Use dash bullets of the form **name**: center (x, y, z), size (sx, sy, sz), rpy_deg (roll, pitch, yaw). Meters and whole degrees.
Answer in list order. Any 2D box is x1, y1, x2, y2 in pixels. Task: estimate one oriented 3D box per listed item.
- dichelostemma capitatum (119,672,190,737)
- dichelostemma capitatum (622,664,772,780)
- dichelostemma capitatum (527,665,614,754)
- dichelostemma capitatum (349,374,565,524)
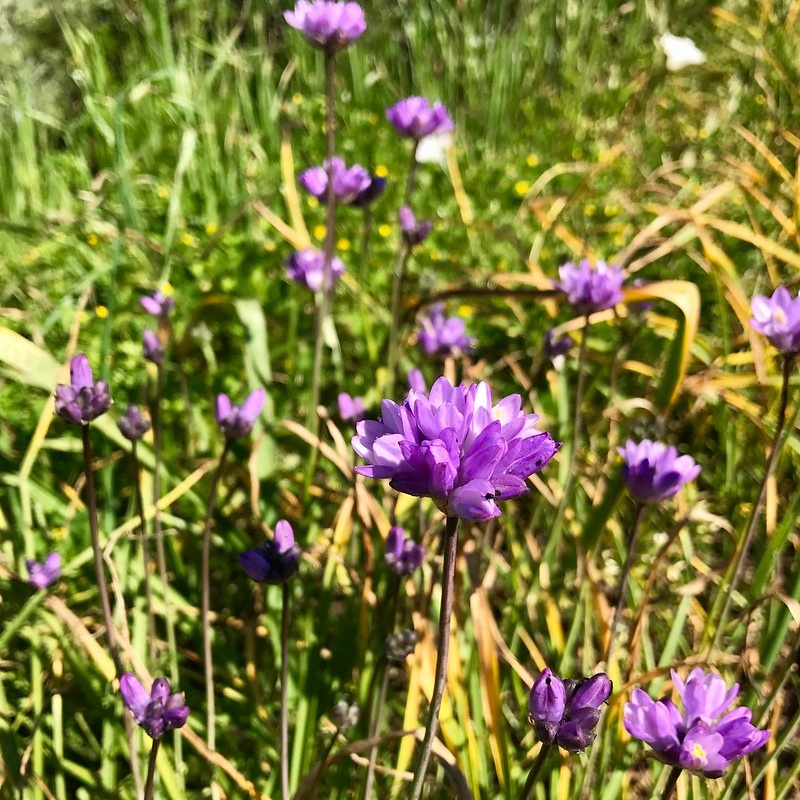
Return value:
- **dichelostemma capitatum**: center (-0.638, 0.783, 2.472), size (0.142, 0.151, 0.158), rpy_deg (14, 6, -42)
- **dichelostemma capitatum**: center (0.788, 0.840, 2.501), size (0.275, 0.209, 0.254), rpy_deg (-19, 32, -34)
- **dichelostemma capitatum**: center (0.430, 0.737, 2.403), size (0.153, 0.230, 0.225), rpy_deg (3, 18, 3)
- **dichelostemma capitatum**: center (0.097, 0.139, 2.421), size (0.350, 0.329, 0.352), rpy_deg (1, 8, 38)
